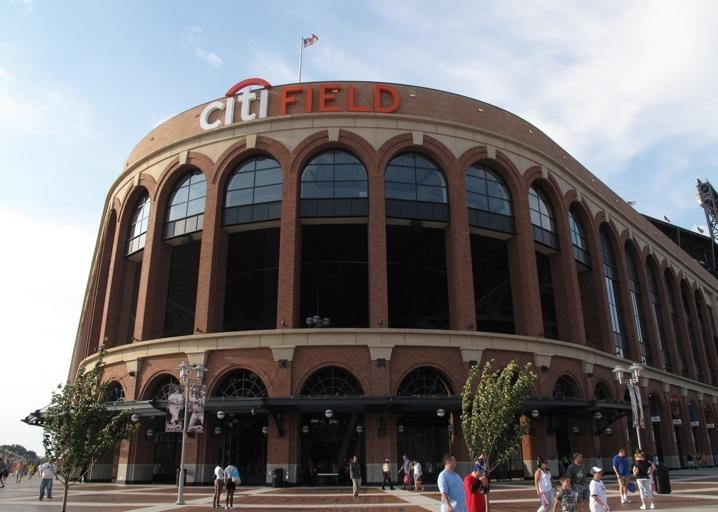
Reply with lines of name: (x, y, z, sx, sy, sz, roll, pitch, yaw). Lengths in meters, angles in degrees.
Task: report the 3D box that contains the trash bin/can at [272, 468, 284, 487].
trash bin/can: (-5.239, 13.960, 30.561, 0.885, 1.024, 0.901, 1, -15, -8)
